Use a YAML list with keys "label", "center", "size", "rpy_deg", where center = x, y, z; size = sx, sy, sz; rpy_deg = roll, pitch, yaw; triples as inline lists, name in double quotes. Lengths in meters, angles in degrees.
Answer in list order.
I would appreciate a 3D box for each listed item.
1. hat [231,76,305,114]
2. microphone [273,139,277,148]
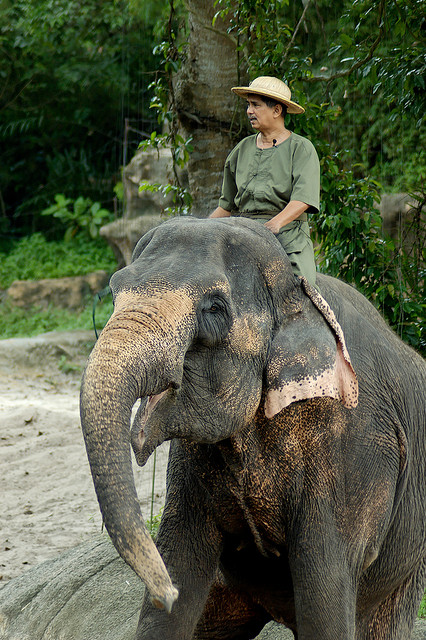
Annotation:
- label: "hat"
  center: [0.182, -0.667, 2.543]
  size: [0.230, 0.098, 0.211]
  rpy_deg: [-4, 11, -26]
- label: "microphone"
  center: [0.174, -0.500, 2.453]
  size: [0.012, 0.019, 0.014]
  rpy_deg: [7, 15, 31]
